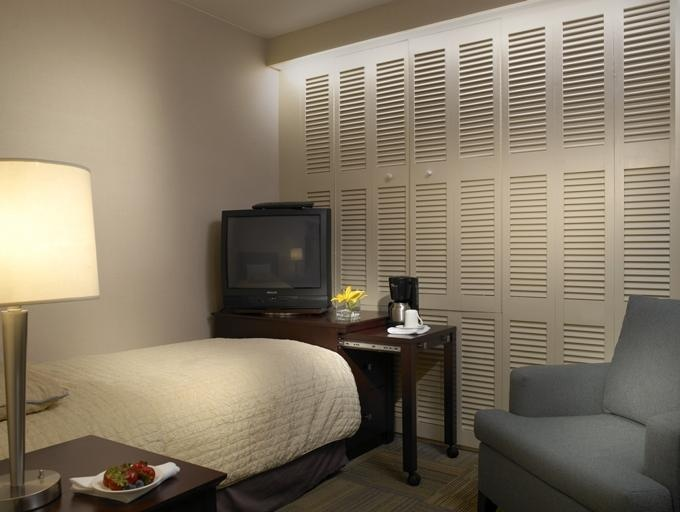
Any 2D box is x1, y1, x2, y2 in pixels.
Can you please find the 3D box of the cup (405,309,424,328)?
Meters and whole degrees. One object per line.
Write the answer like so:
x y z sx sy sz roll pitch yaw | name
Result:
0.459 0.405 3.235 0.128 0.129 0.083 6 -8 -39 | cup

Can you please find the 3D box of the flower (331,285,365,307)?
0.036 0.281 3.482 0.173 0.097 0.178 1 -1 29 | flower

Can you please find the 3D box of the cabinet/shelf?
-0.268 1.097 3.584 1.320 1.163 0.796 -1 -1 41 | cabinet/shelf
